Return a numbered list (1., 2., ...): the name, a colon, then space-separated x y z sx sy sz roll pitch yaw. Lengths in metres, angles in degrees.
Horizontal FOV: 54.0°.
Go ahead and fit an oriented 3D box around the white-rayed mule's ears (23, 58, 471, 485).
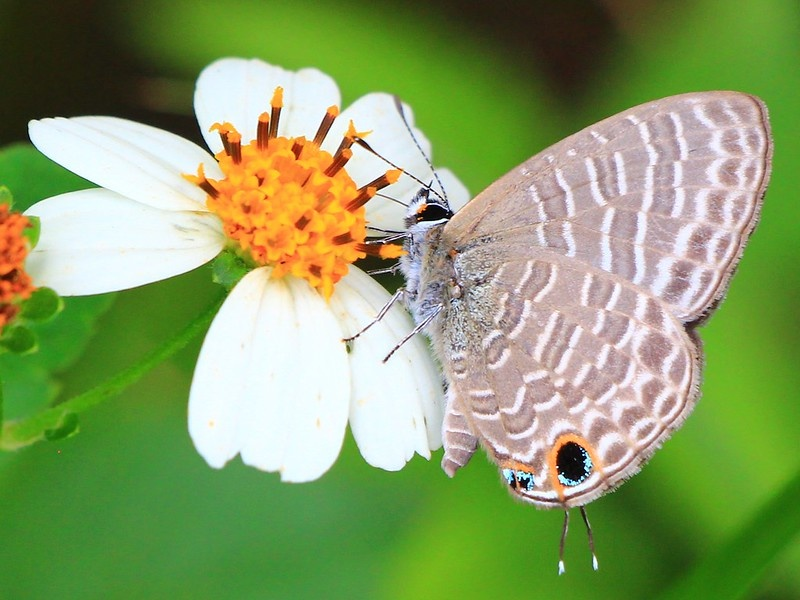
1. white-rayed mule's ears: -0.275 -0.043 1.943 0.783 1.045 1.035 -13 -70 -33
